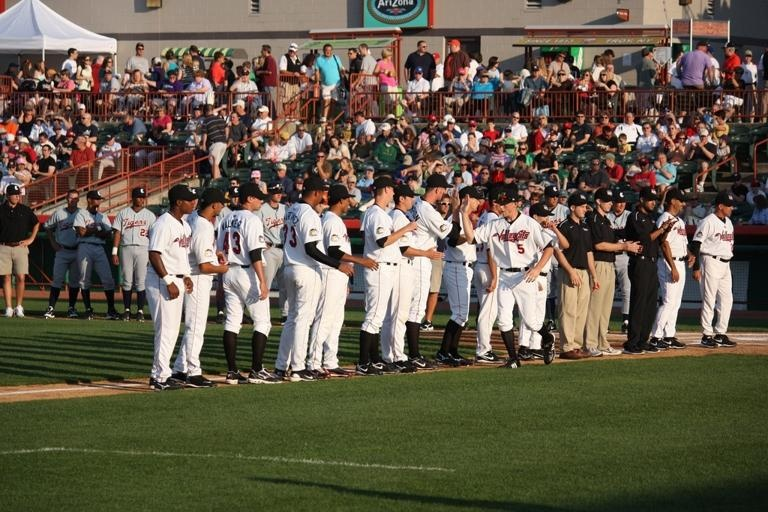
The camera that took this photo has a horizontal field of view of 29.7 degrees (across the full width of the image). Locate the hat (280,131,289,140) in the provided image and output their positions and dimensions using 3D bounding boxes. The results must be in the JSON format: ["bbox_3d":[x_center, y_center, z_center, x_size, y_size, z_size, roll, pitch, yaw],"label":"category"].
[{"bbox_3d":[-2.680,-3.195,38.967,0.260,0.224,0.191,-14,26,-14],"label":"hat"}]

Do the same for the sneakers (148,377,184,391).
[{"bbox_3d":[-3.974,2.362,26.289,0.605,0.260,0.211,0,3,-4],"label":"sneakers"}]

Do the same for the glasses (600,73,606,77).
[{"bbox_3d":[5.907,-4.943,39.663,0.121,0.125,0.045,-8,-29,36],"label":"glasses"}]

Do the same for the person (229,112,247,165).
[{"bbox_3d":[-3.984,-3.162,39.199,0.480,1.446,0.406,0,-4,-1],"label":"person"}]

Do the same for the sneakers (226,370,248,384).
[{"bbox_3d":[-2.786,2.291,26.859,0.450,0.201,0.188,3,0,-32],"label":"sneakers"}]

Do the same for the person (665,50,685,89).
[{"bbox_3d":[7.947,-4.918,39.534,0.433,1.004,0.282,8,46,23],"label":"person"}]

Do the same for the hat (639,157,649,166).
[{"bbox_3d":[6.285,-2.256,34.968,0.223,0.172,0.369,10,8,37],"label":"hat"}]

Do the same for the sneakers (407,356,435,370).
[{"bbox_3d":[0.660,2.114,27.897,0.583,0.241,0.195,2,1,-6],"label":"sneakers"}]

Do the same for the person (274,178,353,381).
[{"bbox_3d":[-1.495,0.439,26.915,1.138,3.803,0.684,-3,-6,43],"label":"person"}]

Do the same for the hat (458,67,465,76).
[{"bbox_3d":[2.127,-5.237,41.182,0.246,0.114,0.364,0,14,0],"label":"hat"}]

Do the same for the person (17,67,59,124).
[{"bbox_3d":[-10.408,-4.751,43.549,1.213,0.730,1.771,-15,29,-14],"label":"person"}]

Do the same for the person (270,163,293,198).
[{"bbox_3d":[-2.466,-1.828,34.811,0.549,0.789,0.429,13,20,33],"label":"person"}]

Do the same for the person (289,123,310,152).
[{"bbox_3d":[-2.284,-3.160,39.048,0.767,0.996,0.716,-1,5,-6],"label":"person"}]

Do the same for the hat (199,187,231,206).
[{"bbox_3d":[-3.120,-1.093,26.456,0.423,0.236,0.301,-19,24,-33],"label":"hat"}]

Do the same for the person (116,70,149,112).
[{"bbox_3d":[-7.511,-4.898,43.345,0.812,1.355,1.595,2,-4,-28],"label":"person"}]

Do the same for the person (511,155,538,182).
[{"bbox_3d":[3.347,-2.121,35.419,0.567,0.685,0.779,0,-4,4],"label":"person"}]

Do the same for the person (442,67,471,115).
[{"bbox_3d":[2.002,-4.670,40.706,0.765,1.436,1.316,0,-4,4],"label":"person"}]

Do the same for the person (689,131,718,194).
[{"bbox_3d":[7.735,-2.342,35.784,0.492,1.644,1.119,-3,-5,39],"label":"person"}]

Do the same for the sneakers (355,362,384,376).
[{"bbox_3d":[-0.331,2.195,27.415,0.508,0.209,0.201,1,0,-2],"label":"sneakers"}]

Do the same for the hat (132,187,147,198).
[{"bbox_3d":[-5.457,-1.393,31.986,0.267,0.171,0.354,-1,-3,-38],"label":"hat"}]

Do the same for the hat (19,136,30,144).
[{"bbox_3d":[-10.140,-3.241,40.779,0.268,0.136,0.196,26,-6,-42],"label":"hat"}]

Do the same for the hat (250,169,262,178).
[{"bbox_3d":[-3.046,-1.929,34.046,0.194,0.198,0.259,0,-9,-2],"label":"hat"}]

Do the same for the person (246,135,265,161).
[{"bbox_3d":[-3.418,-2.900,39.125,0.460,0.758,0.769,-1,-4,23],"label":"person"}]

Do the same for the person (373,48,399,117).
[{"bbox_3d":[-0.007,-4.900,40.839,0.705,2.001,1.032,0,-4,-1],"label":"person"}]

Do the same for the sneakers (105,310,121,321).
[{"bbox_3d":[-6.195,1.373,33.015,0.367,0.175,0.159,1,6,17],"label":"sneakers"}]

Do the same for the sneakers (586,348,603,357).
[{"bbox_3d":[4.135,1.971,28.872,0.310,0.137,0.120,-1,6,-1],"label":"sneakers"}]

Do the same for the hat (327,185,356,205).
[{"bbox_3d":[-0.862,-1.148,27.125,0.413,0.230,0.301,-24,25,-27],"label":"hat"}]

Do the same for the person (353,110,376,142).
[{"bbox_3d":[-0.598,-3.441,38.838,0.658,0.563,0.922,1,36,-23],"label":"person"}]

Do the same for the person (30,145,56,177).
[{"bbox_3d":[-9.334,-2.580,39.800,0.637,0.917,0.812,1,-4,-13],"label":"person"}]

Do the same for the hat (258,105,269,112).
[{"bbox_3d":[-3.379,-4.064,40.161,0.207,0.114,0.316,2,5,9],"label":"hat"}]

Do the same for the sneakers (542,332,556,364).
[{"bbox_3d":[3.143,1.830,28.069,0.212,0.621,0.268,2,-4,27],"label":"sneakers"}]

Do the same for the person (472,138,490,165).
[{"bbox_3d":[2.417,-2.636,36.634,0.423,0.790,0.886,0,-4,3],"label":"person"}]

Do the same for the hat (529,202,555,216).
[{"bbox_3d":[2.999,-0.853,28.097,0.405,0.229,0.293,-15,16,-1],"label":"hat"}]

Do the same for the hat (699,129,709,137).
[{"bbox_3d":[7.856,-3.061,36.037,0.162,0.192,0.209,-9,-5,8],"label":"hat"}]

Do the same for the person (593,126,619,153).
[{"bbox_3d":[5.606,-2.888,36.938,0.809,1.022,0.623,1,10,11],"label":"person"}]

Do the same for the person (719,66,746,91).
[{"bbox_3d":[9.225,-4.734,38.777,0.599,0.695,0.964,7,4,-18],"label":"person"}]

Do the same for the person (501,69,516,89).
[{"bbox_3d":[3.400,-4.871,40.419,0.354,0.709,0.616,0,-4,5],"label":"person"}]

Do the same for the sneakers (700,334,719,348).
[{"bbox_3d":[6.588,1.778,29.651,0.343,0.247,0.221,-1,-4,19],"label":"sneakers"}]

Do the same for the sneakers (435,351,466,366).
[{"bbox_3d":[1.231,2.022,28.124,0.576,0.240,0.226,2,8,11],"label":"sneakers"}]

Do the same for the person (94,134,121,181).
[{"bbox_3d":[-7.687,-2.692,40.316,0.710,1.260,0.743,1,-4,-13],"label":"person"}]

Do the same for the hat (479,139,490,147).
[{"bbox_3d":[2.494,-2.828,36.800,0.181,0.226,0.231,-7,-40,-8],"label":"hat"}]

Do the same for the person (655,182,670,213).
[{"bbox_3d":[6.069,-1.251,32.073,0.298,0.194,0.746,-24,-26,14],"label":"person"}]

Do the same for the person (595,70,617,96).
[{"bbox_3d":[5.979,-4.709,39.335,0.621,0.790,0.969,0,-4,8],"label":"person"}]

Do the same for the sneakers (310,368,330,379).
[{"bbox_3d":[-1.229,2.256,27.198,0.409,0.176,0.148,0,3,11],"label":"sneakers"}]

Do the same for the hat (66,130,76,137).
[{"bbox_3d":[-8.944,-3.470,41.351,0.262,0.183,0.415,11,4,-5],"label":"hat"}]

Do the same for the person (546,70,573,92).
[{"bbox_3d":[4.781,-4.808,39.887,0.694,0.745,1.079,0,-4,0],"label":"person"}]

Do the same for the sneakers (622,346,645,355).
[{"bbox_3d":[4.929,1.940,29.088,0.359,0.156,0.154,-2,1,13],"label":"sneakers"}]

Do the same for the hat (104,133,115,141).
[{"bbox_3d":[-7.916,-3.395,41.848,0.324,0.178,0.460,1,10,-1],"label":"hat"}]

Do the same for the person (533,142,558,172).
[{"bbox_3d":[4.114,-2.405,35.891,0.588,0.841,0.747,1,5,28],"label":"person"}]

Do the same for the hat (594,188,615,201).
[{"bbox_3d":[4.490,-1.259,30.099,0.524,0.278,0.378,5,16,9],"label":"hat"}]

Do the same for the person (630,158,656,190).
[{"bbox_3d":[6.130,-1.943,34.830,0.603,0.810,0.531,0,-4,9],"label":"person"}]
